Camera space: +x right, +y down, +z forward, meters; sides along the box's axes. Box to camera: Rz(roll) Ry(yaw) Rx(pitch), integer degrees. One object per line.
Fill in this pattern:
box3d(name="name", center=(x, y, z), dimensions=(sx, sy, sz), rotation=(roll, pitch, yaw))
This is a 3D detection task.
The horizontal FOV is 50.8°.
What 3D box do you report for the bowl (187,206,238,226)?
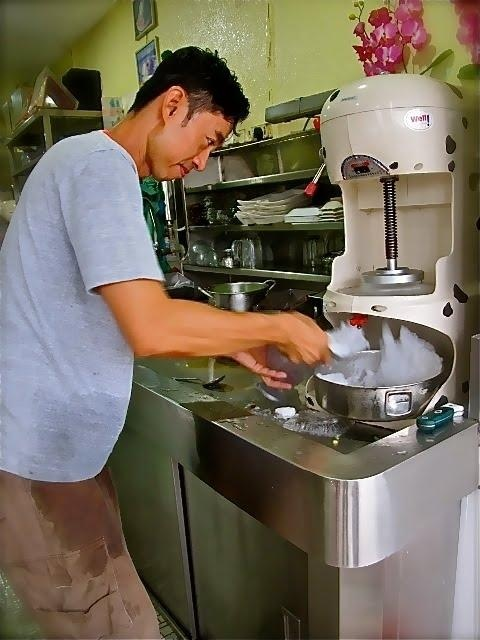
box3d(name="bowl", center=(-0.157, -0.545, 2.681), dimensions=(0.199, 0.072, 0.158), rotation=(6, 10, 13))
